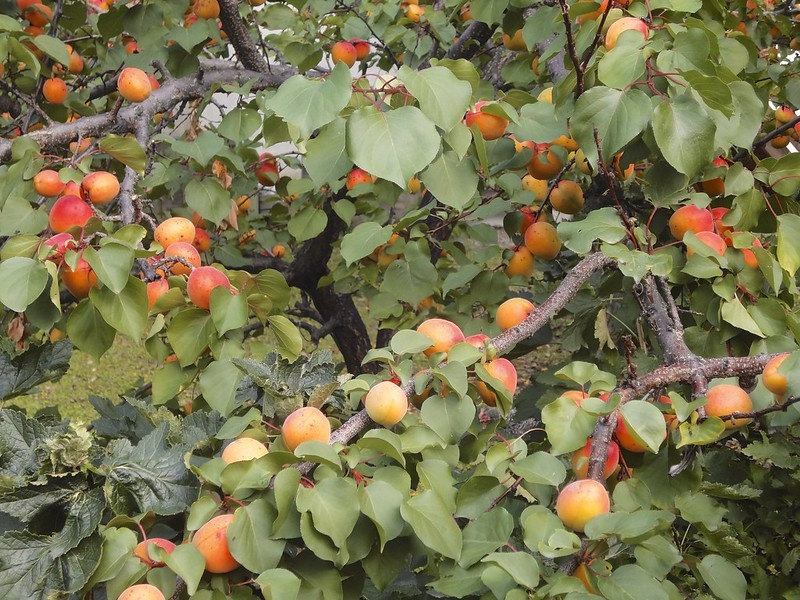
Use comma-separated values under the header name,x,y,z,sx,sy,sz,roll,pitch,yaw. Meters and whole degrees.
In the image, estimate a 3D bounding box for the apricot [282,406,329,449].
name,x,y,z,sx,sy,sz,roll,pitch,yaw
apricot,-0.206,0.274,1.876,0.082,0.051,0.096,12,79,0

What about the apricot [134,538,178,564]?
name,x,y,z,sx,sy,sz,roll,pitch,yaw
apricot,-0.519,0.511,1.803,0.056,0.062,0.022,-14,43,25

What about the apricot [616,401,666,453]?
name,x,y,z,sx,sy,sz,roll,pitch,yaw
apricot,0.519,0.265,1.863,0.099,0.058,0.082,19,51,41

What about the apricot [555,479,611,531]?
name,x,y,z,sx,sy,sz,roll,pitch,yaw
apricot,0.387,0.445,1.910,0.097,0.107,0.126,19,57,-10
